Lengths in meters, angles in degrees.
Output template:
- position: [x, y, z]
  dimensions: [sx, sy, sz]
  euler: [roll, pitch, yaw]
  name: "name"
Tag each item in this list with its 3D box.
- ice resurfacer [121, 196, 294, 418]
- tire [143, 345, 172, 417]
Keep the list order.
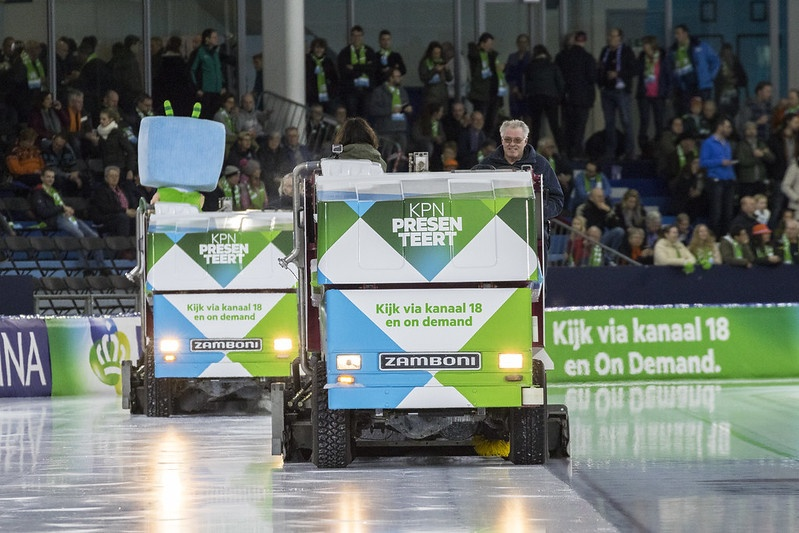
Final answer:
- position: [-3.233, 0.770, 32.642]
  dimensions: [2.928, 3.304, 4.106]
  euler: [-1, 3, -6]
  name: "ice resurfacer"
- position: [-3.986, 1.870, 31.237]
  dimensions: [0.461, 1.168, 0.312]
  euler: [4, 10, 29]
  name: "tire"
